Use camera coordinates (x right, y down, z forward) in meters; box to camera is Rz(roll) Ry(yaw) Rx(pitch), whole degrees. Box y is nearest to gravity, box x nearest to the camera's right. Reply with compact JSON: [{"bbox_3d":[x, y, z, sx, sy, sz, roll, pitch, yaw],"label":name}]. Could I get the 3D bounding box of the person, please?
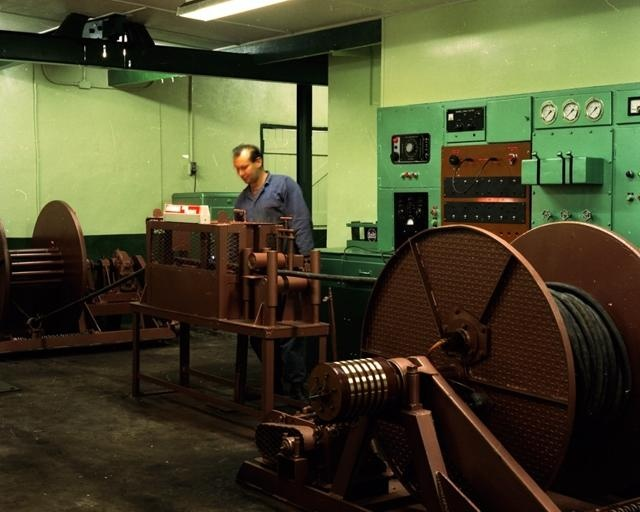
[{"bbox_3d":[-0.394,0.114,4.632,0.657,2.059,0.583,1,3,8],"label":"person"}]
